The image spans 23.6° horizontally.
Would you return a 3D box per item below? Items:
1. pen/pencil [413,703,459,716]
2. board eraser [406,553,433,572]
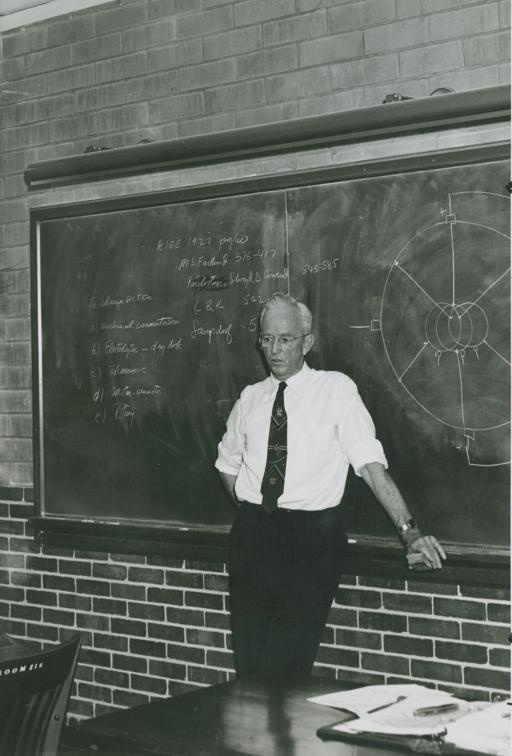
[{"bbox_3d":[0.316,0.583,2.156,0.048,0.011,0.014,-3,1,-32],"label":"pen/pencil"},{"bbox_3d":[0.338,0.386,2.566,0.039,0.039,0.015,24,14,40],"label":"board eraser"}]
